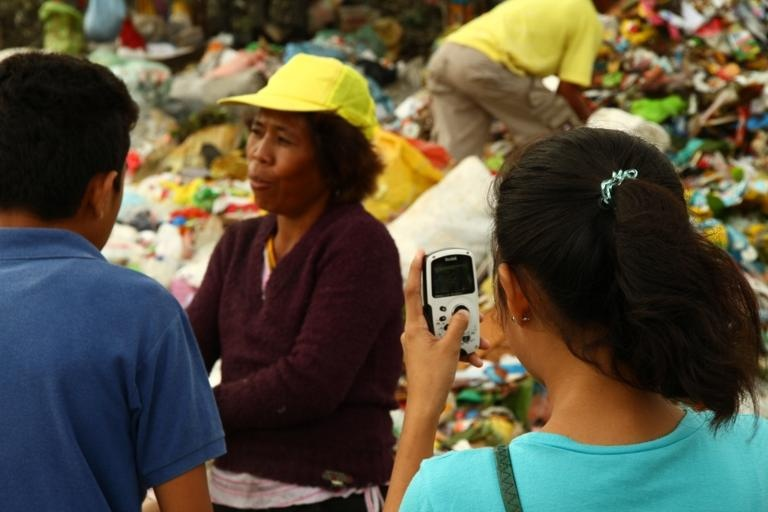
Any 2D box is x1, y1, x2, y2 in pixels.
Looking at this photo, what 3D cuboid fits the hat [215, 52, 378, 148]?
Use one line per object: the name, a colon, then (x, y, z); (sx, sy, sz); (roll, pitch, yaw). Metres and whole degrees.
hat: (-0.265, -0.592, 3.206); (0.591, 0.272, 0.368); (3, 11, -32)
